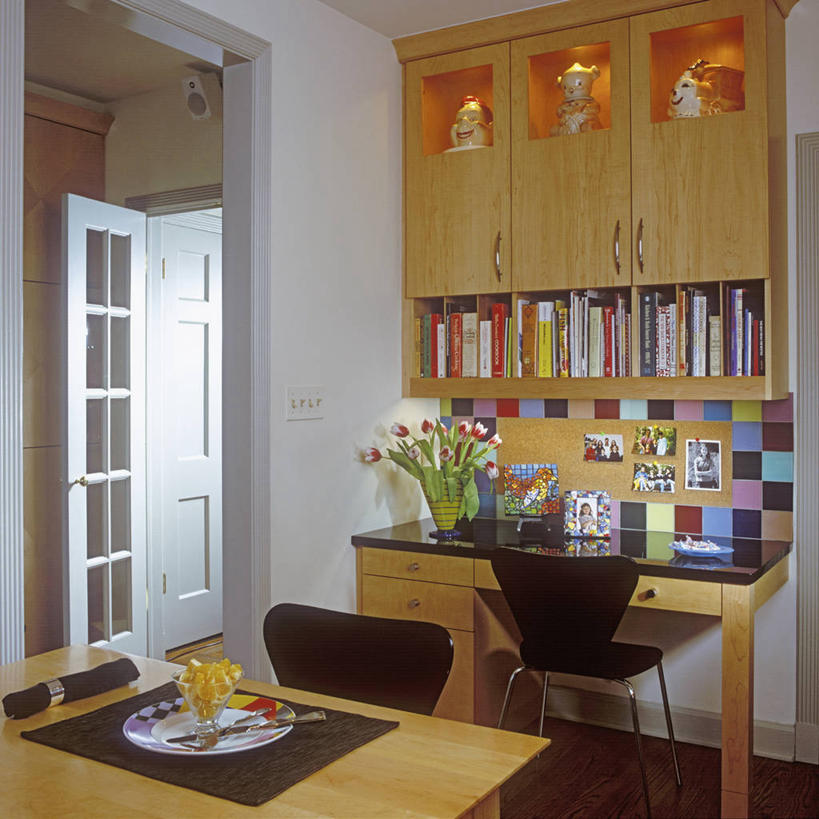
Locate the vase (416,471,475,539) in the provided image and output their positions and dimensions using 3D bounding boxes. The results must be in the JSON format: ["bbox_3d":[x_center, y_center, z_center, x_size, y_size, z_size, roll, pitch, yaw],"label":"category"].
[{"bbox_3d":[0.173,0.348,3.046,0.233,0.277,0.245,-14,-8,-9],"label":"vase"}]

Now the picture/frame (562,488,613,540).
[{"bbox_3d":[0.674,0.393,2.834,0.159,0.170,0.018,0,-5,19],"label":"picture/frame"}]

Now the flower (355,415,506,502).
[{"bbox_3d":[0.107,0.193,3.098,0.393,0.271,0.398,-3,-9,21],"label":"flower"}]
